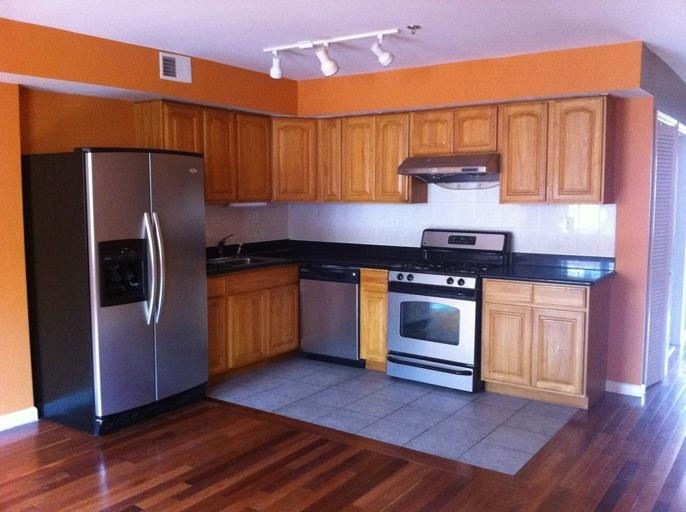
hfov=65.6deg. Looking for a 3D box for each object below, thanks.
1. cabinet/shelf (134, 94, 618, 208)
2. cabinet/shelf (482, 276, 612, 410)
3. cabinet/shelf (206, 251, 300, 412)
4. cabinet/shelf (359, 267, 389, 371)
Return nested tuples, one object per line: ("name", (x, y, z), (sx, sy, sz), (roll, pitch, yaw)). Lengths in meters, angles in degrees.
("cabinet/shelf", (0.419, -0.973, 5.128), (3.734, 0.952, 1.148), (1, 11, 6))
("cabinet/shelf", (1.829, 0.736, 4.759), (0.954, 1.090, 0.645), (1, 0, 44))
("cabinet/shelf", (-0.949, 0.605, 5.446), (0.438, 0.934, 1.211), (2, 4, 26))
("cabinet/shelf", (0.303, 0.566, 5.213), (0.331, 0.892, 0.104), (6, 13, 30))
